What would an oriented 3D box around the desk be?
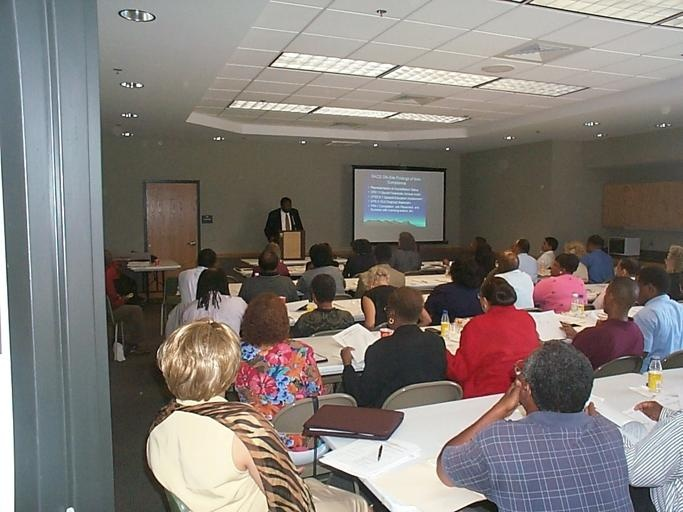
[{"bbox_3d":[-3.126,0.577,8.221,0.945,0.973,0.731,6,8,-24],"label":"desk"}]
